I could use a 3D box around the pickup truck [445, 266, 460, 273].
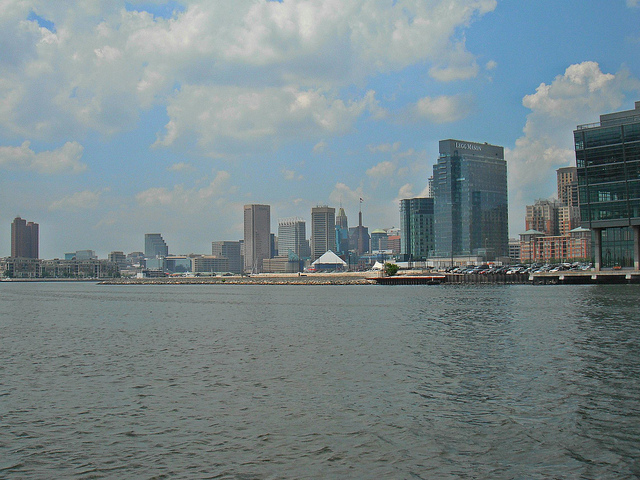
[{"bbox_3d":[45.243,10.311,287.657,3.991,1.173,2.977,-8,-5,44],"label":"pickup truck"}]

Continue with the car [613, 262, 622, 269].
[{"bbox_3d":[68.275,6.226,192.828,1.099,1.762,2.015,-5,5,-44],"label":"car"}]

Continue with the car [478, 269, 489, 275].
[{"bbox_3d":[44.997,9.033,231.599,2.931,0.801,1.801,-2,2,-26],"label":"car"}]
